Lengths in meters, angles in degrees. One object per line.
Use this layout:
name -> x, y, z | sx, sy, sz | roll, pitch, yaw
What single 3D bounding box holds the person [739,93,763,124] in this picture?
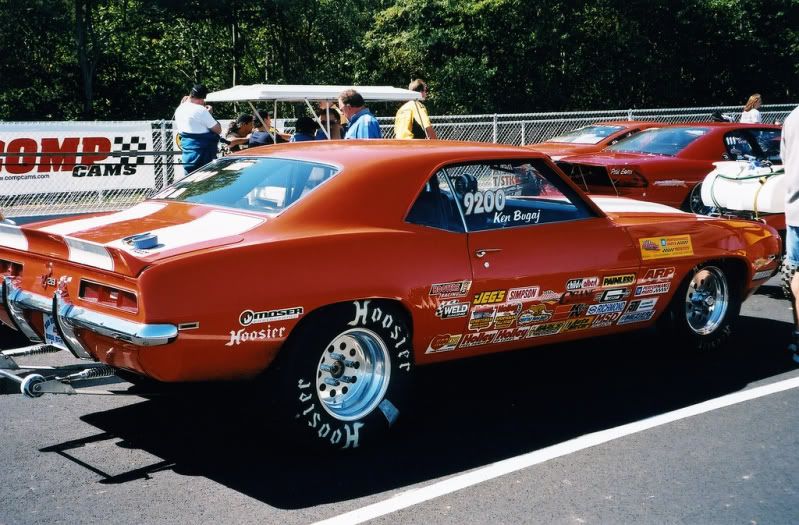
person -> 7.957, -3.471, 14.790 | 0.363, 0.609, 0.798 | 7, 16, 25
